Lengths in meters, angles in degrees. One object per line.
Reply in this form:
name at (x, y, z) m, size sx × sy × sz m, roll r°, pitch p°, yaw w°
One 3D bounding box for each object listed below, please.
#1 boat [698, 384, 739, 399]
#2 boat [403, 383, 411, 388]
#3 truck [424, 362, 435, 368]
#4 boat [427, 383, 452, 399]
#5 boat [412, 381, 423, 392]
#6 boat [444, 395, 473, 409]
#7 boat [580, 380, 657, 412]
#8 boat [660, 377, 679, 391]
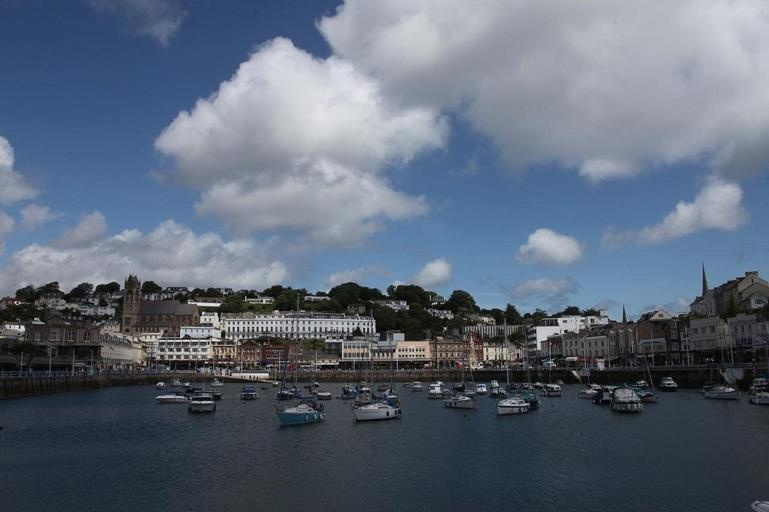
boat at (59.446, 24.552, 122.526) m, size 2.573 × 2.765 × 6.559 m, roll 1°, pitch -11°, yaw -19°
boat at (5.968, 34.360, 179.307) m, size 2.255 × 0.931 × 10.507 m, roll -2°, pitch -10°, yaw 1°
truck at (15.744, 37.488, 235.164) m, size 3.190 × 3.108 × 1.710 m, roll 1°, pitch -12°, yaw -4°
boat at (10.813, 28.186, 140.074) m, size 3.767 × 1.989 × 5.413 m, roll -1°, pitch -12°, yaw 1°
boat at (8.138, 32.704, 169.354) m, size 2.779 × 2.780 × 9.427 m, roll -2°, pitch -17°, yaw 2°
boat at (13.219, 25.986, 120.105) m, size 4.833 × 1.770 × 1.920 m, roll -10°, pitch -9°, yaw 44°
boat at (42.535, 25.584, 123.190) m, size 11.161 × 7.089 × 19.537 m, roll 1°, pitch -4°, yaw 5°
boat at (58.596, 26.728, 141.021) m, size 2.755 × 2.634 × 2.582 m, roll -8°, pitch -11°, yaw 28°
